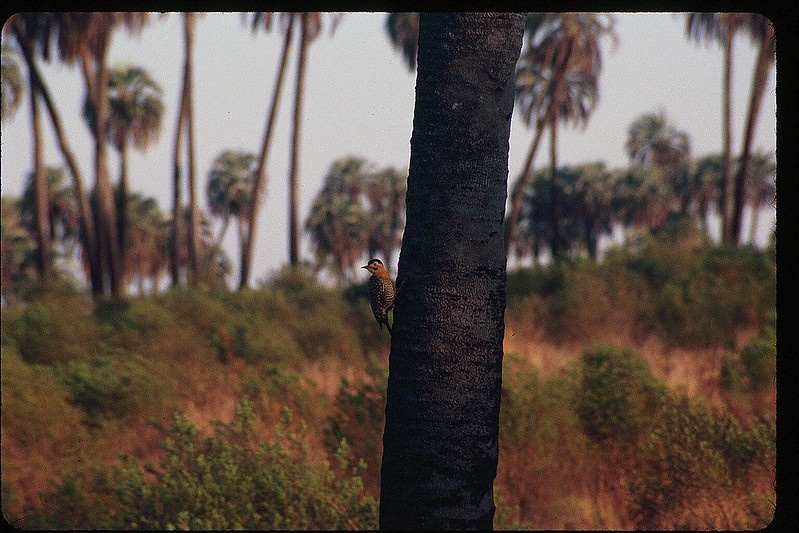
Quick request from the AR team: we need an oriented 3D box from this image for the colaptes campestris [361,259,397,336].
[{"bbox_3d":[-0.218,0.324,23.787,0.354,0.910,1.745,1,-4,0],"label":"colaptes campestris"}]
